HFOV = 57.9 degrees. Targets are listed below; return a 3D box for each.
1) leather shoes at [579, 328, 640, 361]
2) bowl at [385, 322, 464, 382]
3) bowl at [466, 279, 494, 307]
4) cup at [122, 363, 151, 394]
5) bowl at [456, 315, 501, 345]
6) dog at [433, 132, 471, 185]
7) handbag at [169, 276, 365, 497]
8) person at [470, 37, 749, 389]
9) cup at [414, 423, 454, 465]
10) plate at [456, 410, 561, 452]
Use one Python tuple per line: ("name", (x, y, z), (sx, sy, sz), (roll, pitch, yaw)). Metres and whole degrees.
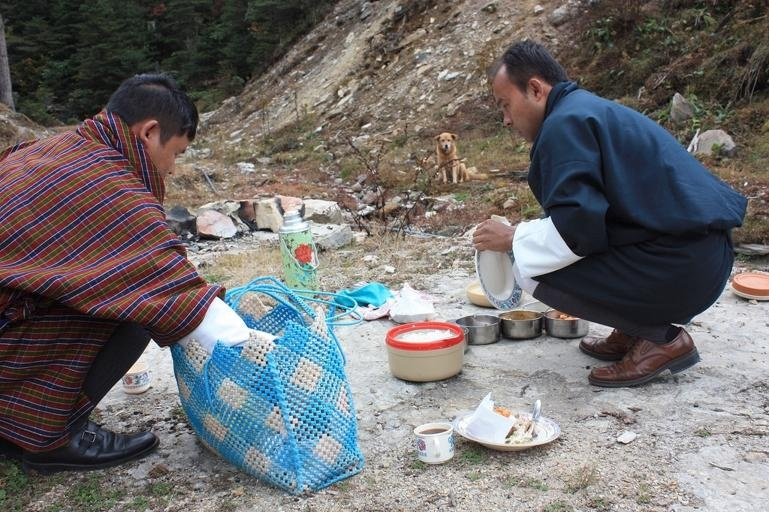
("leather shoes", (1.489, 0.605, 4.671), (0.370, 0.146, 0.152), (6, 13, 38))
("bowl", (0.276, 0.637, 4.599), (0.461, 0.226, 0.438), (-3, 6, 0))
("bowl", (0.772, 0.316, 5.661), (0.220, 0.068, 0.192), (-13, 29, -22))
("cup", (-1.650, 0.845, 4.638), (0.176, 0.131, 0.163), (-5, 0, 0))
("bowl", (0.699, 0.549, 5.084), (0.255, 0.084, 0.255), (-1, 5, 0))
("dog", (1.144, -1.599, 12.139), (0.468, 0.652, 0.775), (-4, -6, 25))
("handbag", (-0.636, 0.722, 4.182), (0.911, 0.971, 1.412), (-8, 10, -27))
("person", (1.413, -0.241, 4.282), (1.393, 2.075, 0.817), (4, 26, 23))
("cup", (0.286, 1.065, 3.884), (0.226, 0.163, 0.261), (-7, 4, -13))
("plate", (0.815, 1.031, 4.002), (0.429, 0.417, 0.053), (-24, 27, 43))
